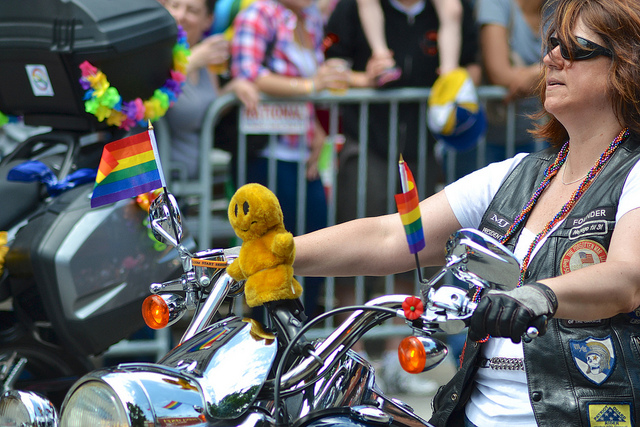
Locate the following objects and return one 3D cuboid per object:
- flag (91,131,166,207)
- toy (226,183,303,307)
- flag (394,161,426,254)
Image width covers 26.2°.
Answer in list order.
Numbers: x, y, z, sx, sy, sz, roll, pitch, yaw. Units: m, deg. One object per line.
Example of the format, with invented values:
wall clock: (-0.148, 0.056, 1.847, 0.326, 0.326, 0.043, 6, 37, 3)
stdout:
flag: (-0.695, -0.146, 4.922, 0.281, 0.216, 0.014, -18, 25, 10)
toy: (-0.196, 0.111, 4.638, 0.211, 0.396, 0.115, -4, 14, -6)
flag: (0.303, -0.017, 4.690, 0.094, 0.334, 0.179, -2, 14, 4)
